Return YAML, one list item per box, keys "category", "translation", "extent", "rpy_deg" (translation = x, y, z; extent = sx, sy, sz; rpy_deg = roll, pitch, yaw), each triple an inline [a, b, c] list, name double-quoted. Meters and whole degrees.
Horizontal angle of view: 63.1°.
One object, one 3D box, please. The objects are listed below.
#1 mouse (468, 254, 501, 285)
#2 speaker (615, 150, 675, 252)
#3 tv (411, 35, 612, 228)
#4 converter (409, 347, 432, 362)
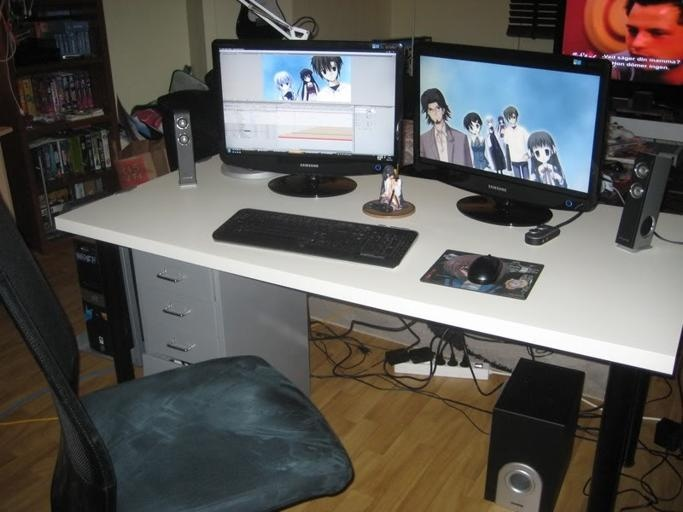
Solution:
- category: "mouse"
  translation: [0.394, 0.040, 1.529]
  extent: [0.076, 0.054, 0.092]
  rpy_deg: [12, 28, 26]
- category: "speaker"
  translation: [0.889, -0.165, 1.696]
  extent: [0.123, 0.316, 0.127]
  rpy_deg: [25, 35, 38]
- category: "tv"
  translation: [0.539, -0.377, 1.804]
  extent: [0.077, 0.560, 0.628]
  rpy_deg: [-19, 28, -41]
- category: "converter"
  translation: [0.354, 0.443, 2.492]
  extent: [0.069, 0.018, 0.068]
  rpy_deg: [-3, 29, 2]
